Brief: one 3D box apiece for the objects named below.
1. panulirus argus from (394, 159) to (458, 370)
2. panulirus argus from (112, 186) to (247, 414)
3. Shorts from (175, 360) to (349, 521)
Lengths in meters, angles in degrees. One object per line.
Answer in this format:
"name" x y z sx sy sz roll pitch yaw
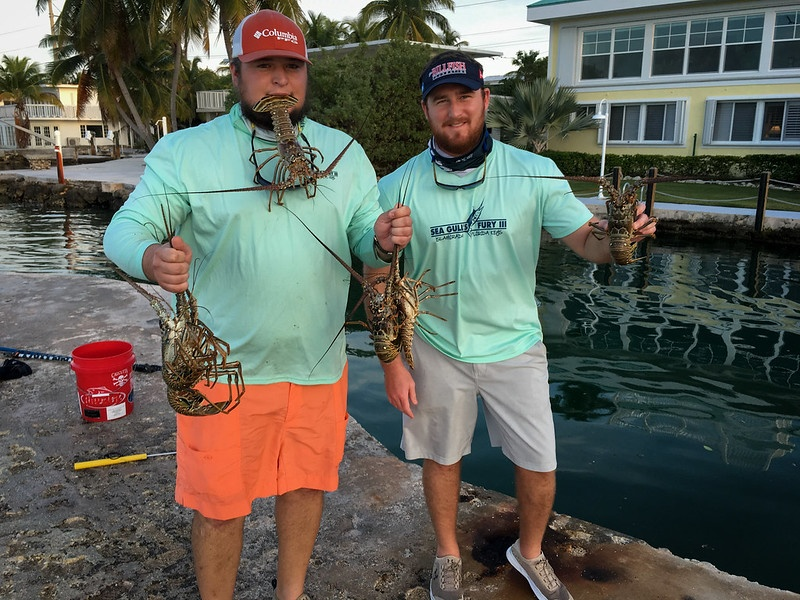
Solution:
"panulirus argus" 0.075 -0.176 3.069 0.381 1.053 0.461 0 12 -8
"panulirus argus" -1.084 0.103 2.792 0.527 1.071 0.536 -5 13 -17
"Shorts" -0.744 0.650 3.483 1.357 1.090 0.727 0 1 -26
